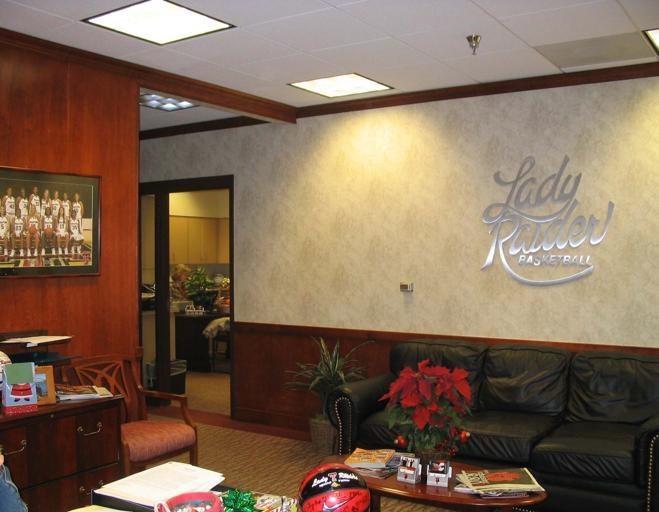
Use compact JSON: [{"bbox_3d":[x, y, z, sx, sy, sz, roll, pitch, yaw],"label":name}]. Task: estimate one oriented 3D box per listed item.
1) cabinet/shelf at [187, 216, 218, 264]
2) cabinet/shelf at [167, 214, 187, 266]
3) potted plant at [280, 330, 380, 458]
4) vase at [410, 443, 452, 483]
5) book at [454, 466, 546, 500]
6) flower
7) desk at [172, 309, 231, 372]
[{"bbox_3d":[-2.878,-0.375,11.277,0.413,1.009,1.106,3,4,38],"label":"cabinet/shelf"},{"bbox_3d":[-3.235,-0.354,10.788,0.126,0.954,0.425,-1,0,24],"label":"cabinet/shelf"},{"bbox_3d":[-0.008,1.361,4.854,1.037,1.281,1.056,0,-1,0],"label":"potted plant"},{"bbox_3d":[0.600,1.216,2.951,0.236,0.210,0.127,-3,-8,26],"label":"vase"},{"bbox_3d":[0.960,1.283,2.875,0.468,0.070,0.370,-1,-1,13],"label":"book"},{"bbox_3d":[0.584,0.913,2.947,0.454,0.569,0.286,-1,0,11],"label":"flower"},{"bbox_3d":[-2.156,1.347,9.133,0.980,1.132,1.282,-1,0,12],"label":"desk"}]
